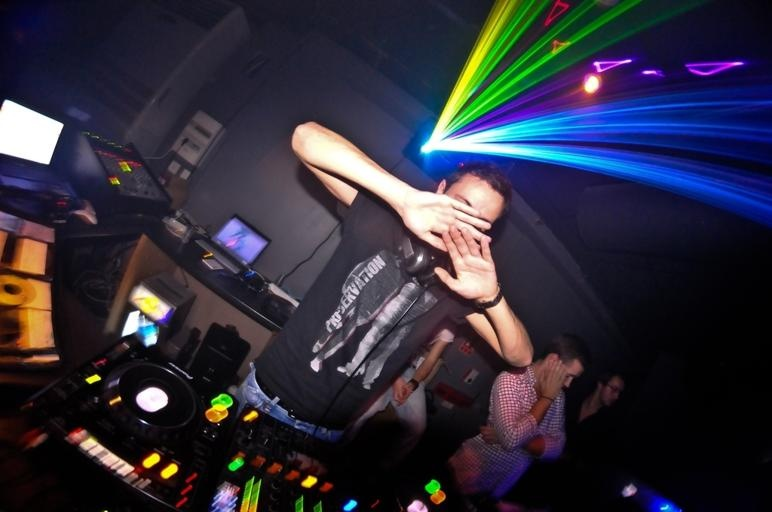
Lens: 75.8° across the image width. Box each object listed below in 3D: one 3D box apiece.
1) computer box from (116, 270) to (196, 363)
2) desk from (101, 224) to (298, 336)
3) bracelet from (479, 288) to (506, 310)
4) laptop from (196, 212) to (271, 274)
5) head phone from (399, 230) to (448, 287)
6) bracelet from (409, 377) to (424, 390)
[{"bbox_3d":[-2.008,0.524,4.449,0.395,0.572,0.442,30,18,5],"label":"computer box"},{"bbox_3d":[-1.636,0.157,4.527,1.349,0.706,0.999,42,3,-22],"label":"desk"},{"bbox_3d":[0.743,0.326,3.535,0.060,0.152,0.147,46,-40,5],"label":"bracelet"},{"bbox_3d":[-1.523,-0.105,5.065,0.559,0.417,0.549,47,1,-22],"label":"laptop"},{"bbox_3d":[0.246,0.017,3.457,0.318,0.139,0.332,24,35,-53],"label":"head phone"},{"bbox_3d":[0.304,1.311,5.124,0.119,0.087,0.116,33,-31,29],"label":"bracelet"}]
